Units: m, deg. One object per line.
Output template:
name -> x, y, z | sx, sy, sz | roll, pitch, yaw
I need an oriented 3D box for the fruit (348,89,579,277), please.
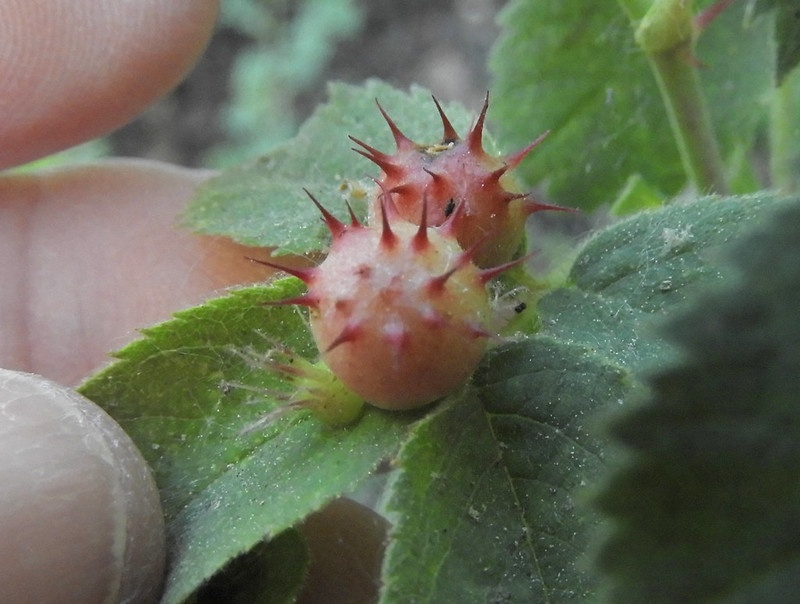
fruit -> 0.082, -0.146, 1.224 | 0.258, 0.236, 0.229 | -5, 23, -42

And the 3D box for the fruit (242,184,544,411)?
fruit -> 0.031, -0.001, 1.157 | 0.228, 0.266, 0.279 | -4, 5, -17
